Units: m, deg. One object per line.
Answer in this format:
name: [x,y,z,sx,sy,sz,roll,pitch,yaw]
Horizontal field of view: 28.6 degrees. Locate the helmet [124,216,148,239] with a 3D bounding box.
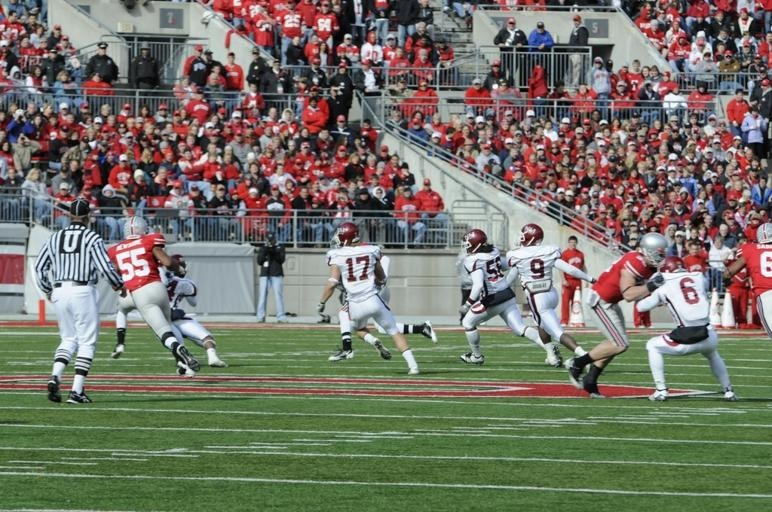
helmet: [-3.708,-0.403,22.544,0.286,0.348,0.678,-1,6,-13]

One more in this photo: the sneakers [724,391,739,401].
sneakers: [4.769,1.969,20.968,0.135,0.165,0.172,1,4,18]

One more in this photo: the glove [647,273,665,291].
glove: [3.725,0.393,21.031,0.229,0.274,0.422,1,6,8]

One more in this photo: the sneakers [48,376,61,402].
sneakers: [-4.388,1.821,20.130,0.148,0.374,0.186,-6,40,-5]

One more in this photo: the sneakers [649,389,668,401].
sneakers: [3.749,1.959,20.916,0.116,0.115,0.281,0,3,-21]

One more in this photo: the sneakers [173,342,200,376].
sneakers: [-2.994,1.599,22.707,0.185,0.527,0.246,-42,21,-32]

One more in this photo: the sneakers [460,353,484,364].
sneakers: [1.354,1.688,24.381,0.379,0.141,0.186,12,1,26]

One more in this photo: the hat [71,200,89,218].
hat: [-4.100,-0.615,20.366,0.191,0.247,0.129,-6,40,-13]

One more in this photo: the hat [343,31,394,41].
hat: [-0.432,-5.500,37.792,0.702,0.155,0.413,-2,4,-31]

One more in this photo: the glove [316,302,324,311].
glove: [-1.056,0.824,24.767,0.150,0.145,0.203,-3,-9,-5]

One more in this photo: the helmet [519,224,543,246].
helmet: [2.298,-0.309,24.042,0.395,0.351,0.299,15,6,26]

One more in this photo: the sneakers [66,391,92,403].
sneakers: [-4.089,1.931,20.250,0.378,0.151,0.143,2,38,-17]

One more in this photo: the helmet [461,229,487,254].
helmet: [1.439,-0.216,24.788,0.415,0.369,0.329,-4,0,23]
